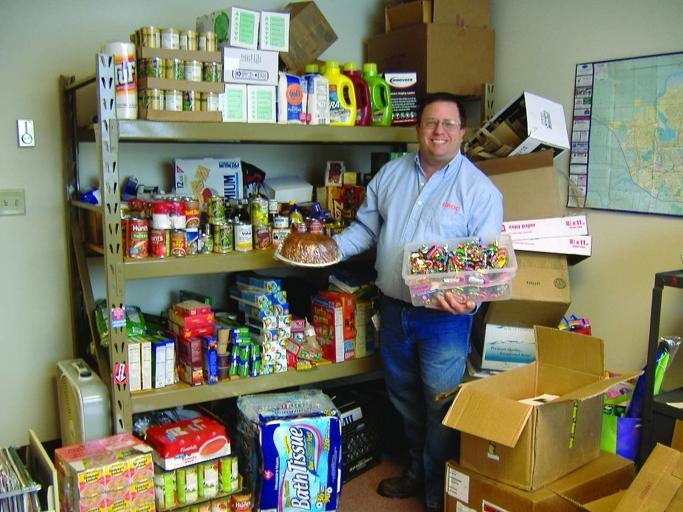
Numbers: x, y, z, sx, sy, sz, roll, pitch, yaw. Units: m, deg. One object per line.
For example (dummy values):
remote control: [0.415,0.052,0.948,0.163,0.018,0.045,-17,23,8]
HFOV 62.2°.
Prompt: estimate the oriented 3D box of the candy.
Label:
candy: [0.490,0.091,2.408,0.396,0.179,0.267,-3,38,1]

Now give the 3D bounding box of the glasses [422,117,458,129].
glasses: [0.431,-0.583,2.479,0.152,0.044,0.052,-2,8,13]

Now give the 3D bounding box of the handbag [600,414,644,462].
handbag: [1.252,0.827,2.554,0.159,0.211,0.130,-10,10,-39]

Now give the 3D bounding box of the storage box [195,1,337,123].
storage box: [-0.365,-0.897,2.652,0.640,0.236,0.636,8,-10,-16]

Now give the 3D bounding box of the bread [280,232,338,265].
bread: [-0.143,-0.021,2.522,0.277,0.161,0.147,-5,8,-8]

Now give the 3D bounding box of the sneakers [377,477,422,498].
sneakers: [0.286,1.141,2.833,0.208,0.095,0.096,4,13,-5]

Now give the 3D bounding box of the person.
person: [0.351,0.244,2.632,0.737,1.936,0.410,2,9,33]

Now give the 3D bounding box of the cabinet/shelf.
cabinet/shelf: [-0.602,-0.049,2.710,1.642,1.641,0.557,-3,6,-28]
